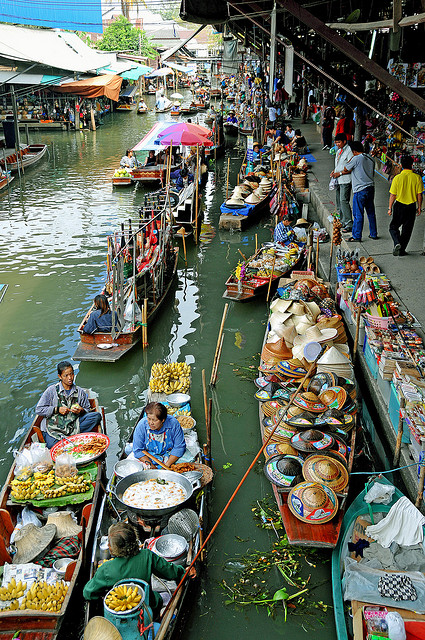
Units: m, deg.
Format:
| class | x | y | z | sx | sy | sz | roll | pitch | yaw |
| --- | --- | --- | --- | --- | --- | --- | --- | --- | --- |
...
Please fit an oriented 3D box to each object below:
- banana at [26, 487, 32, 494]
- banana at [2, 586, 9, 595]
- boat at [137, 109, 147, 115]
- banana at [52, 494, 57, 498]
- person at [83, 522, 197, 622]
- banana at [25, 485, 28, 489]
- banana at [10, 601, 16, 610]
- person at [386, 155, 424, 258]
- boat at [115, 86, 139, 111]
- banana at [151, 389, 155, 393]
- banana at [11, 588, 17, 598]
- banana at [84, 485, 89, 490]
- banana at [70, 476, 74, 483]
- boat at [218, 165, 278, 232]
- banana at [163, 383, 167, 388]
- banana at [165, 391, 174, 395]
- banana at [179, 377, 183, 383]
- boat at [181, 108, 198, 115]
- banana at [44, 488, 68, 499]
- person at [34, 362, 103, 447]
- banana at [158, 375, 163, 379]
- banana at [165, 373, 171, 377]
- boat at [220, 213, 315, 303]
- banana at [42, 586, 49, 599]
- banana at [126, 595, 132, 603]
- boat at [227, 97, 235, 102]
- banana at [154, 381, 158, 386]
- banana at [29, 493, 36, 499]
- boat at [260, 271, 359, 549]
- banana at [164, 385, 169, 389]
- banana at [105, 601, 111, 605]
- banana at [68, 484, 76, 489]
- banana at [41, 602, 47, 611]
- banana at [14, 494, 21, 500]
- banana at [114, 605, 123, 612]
| class | x | y | z | sx | sy | sz | roll | pitch | yaw |
| --- | --- | --- | --- | --- | --- | --- | --- | --- | --- |
| banana | -1.622 | 1.508 | 4.017 | 0.030 | 0.010 | 0.030 | 17 | 54 | 20 |
| banana | -1.377 | 1.794 | 3.015 | 0.019 | 0.019 | 0.063 | 1 | 7 | -20 |
| boat | -5.767 | -17.036 | 37.245 | 0.744 | 0.384 | 0.776 | -4 | 24 | -10 |
| banana | -1.406 | 1.565 | 4.048 | 0.035 | 0.037 | 0.012 | -4 | -6 | -9 |
| person | -0.402 | 1.558 | 2.647 | 0.597 | 0.979 | 0.254 | -8 | 33 | -10 |
| banana | -1.660 | 1.498 | 4.064 | 0.021 | 0.022 | 0.008 | -5 | -4 | -11 |
| banana | -1.268 | 1.827 | 2.901 | 0.027 | 0.071 | 0.029 | 8 | 66 | 9 |
| person | 3.323 | -1.982 | 7.866 | 0.552 | 1.670 | 1.351 | 9 | 25 | 20 |
| boat | -7.530 | -19.371 | 39.794 | 1.189 | 1.649 | 3.769 | 2 | 37 | 1 |
| banana | -0.814 | 0.970 | 6.239 | 0.045 | 0.045 | 0.011 | -27 | 7 | 5 |
| banana | -1.307 | 1.809 | 3.001 | 0.026 | 0.039 | 0.023 | 9 | -19 | -23 |
| banana | -1.153 | 1.538 | 4.165 | 0.029 | 0.018 | 0.039 | -8 | 38 | -21 |
| banana | -1.296 | 1.474 | 4.209 | 0.029 | 0.029 | 0.035 | -6 | -17 | -29 |
| boat | 1.271 | -3.849 | 14.809 | 1.018 | 0.883 | 3.215 | 16 | 48 | 16 |
| banana | -0.657 | 0.901 | 6.259 | 0.029 | 0.012 | 0.041 | 11 | 64 | 2 |
| banana | -0.584 | 0.997 | 6.188 | 0.121 | 0.033 | 0.091 | -3 | 24 | -8 |
| banana | -0.449 | 0.863 | 6.493 | 0.018 | 0.046 | 0.044 | -4 | 18 | 36 |
| boat | -1.846 | -16.829 | 36.748 | 1.619 | 0.415 | 0.506 | -22 | 32 | -40 |
| banana | -1.395 | 1.549 | 4.060 | 0.105 | 0.043 | 0.079 | 1 | 3 | 14 |
| person | -1.651 | 0.962 | 5.155 | 0.620 | 0.906 | 0.577 | 1 | -2 | -42 |
| banana | -0.739 | 0.809 | 6.452 | 0.070 | 0.049 | 0.033 | 13 | 26 | 26 |
| banana | -0.642 | 0.783 | 6.485 | 0.035 | 0.048 | 0.018 | 20 | 7 | -11 |
| boat | 1.301 | -1.076 | 10.165 | 1.004 | 1.356 | 4.097 | 8 | 39 | 21 |
| banana | -1.099 | 1.810 | 3.024 | 0.022 | 0.021 | 0.070 | 6 | 37 | -26 |
| banana | -0.410 | 1.384 | 2.253 | 0.012 | 0.027 | 0.029 | 15 | 27 | 31 |
| boat | 1.703 | -20.342 | 41.990 | 0.398 | 0.380 | 1.301 | -11 | 26 | -24 |
| banana | -0.778 | 0.883 | 6.268 | 0.028 | 0.016 | 0.055 | 4 | 32 | -9 |
| banana | -1.576 | 1.555 | 4.004 | 0.031 | 0.043 | 0.011 | 3 | -14 | 16 |
| boat | 1.196 | 0.763 | 5.701 | 0.775 | 0.654 | 4.158 | -7 | 35 | 12 |
| banana | -0.629 | 0.923 | 6.244 | 0.051 | 0.014 | 0.052 | -3 | 29 | -13 |
| banana | -0.512 | 1.389 | 2.233 | 0.021 | 0.013 | 0.016 | -5 | 24 | 16 |
| banana | -1.274 | 1.515 | 4.127 | 0.032 | 0.009 | 0.033 | 13 | 53 | 15 |
| banana | -1.071 | 1.830 | 2.900 | 0.029 | 0.011 | 0.046 | 9 | 45 | -11 |
| banana | -1.713 | 1.559 | 3.991 | 0.030 | 0.017 | 0.039 | -17 | 71 | -5 |
| banana | -0.457 | 1.404 | 2.210 | 0.035 | 0.011 | 0.011 | -29 | 73 | -33 |
